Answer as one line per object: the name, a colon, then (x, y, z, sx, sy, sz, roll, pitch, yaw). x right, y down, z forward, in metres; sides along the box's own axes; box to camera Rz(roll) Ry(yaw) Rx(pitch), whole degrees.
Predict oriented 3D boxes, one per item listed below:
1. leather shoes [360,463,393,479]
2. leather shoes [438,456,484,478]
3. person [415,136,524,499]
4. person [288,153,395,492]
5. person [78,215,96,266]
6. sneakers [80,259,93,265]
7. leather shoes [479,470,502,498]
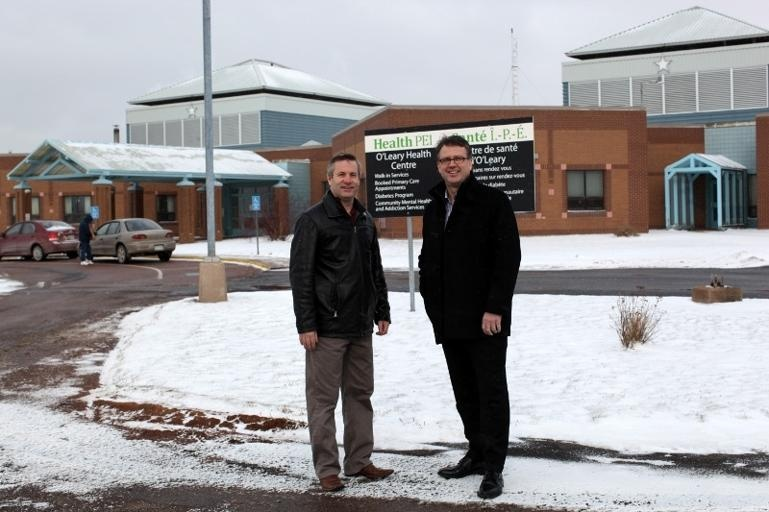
leather shoes: (-0.082, 2.250, 8.590, 0.395, 0.145, 0.129, -3, 2, 4)
leather shoes: (0.826, 2.206, 8.560, 0.579, 0.215, 0.179, -1, -3, -5)
person: (0.944, 0.532, 8.470, 0.926, 3.499, 1.393, -6, 14, -15)
person: (-0.488, 0.634, 8.548, 1.000, 3.328, 1.272, -1, 13, 5)
person: (-11.054, -0.627, 30.091, 0.555, 1.845, 0.731, -7, 14, -19)
sneakers: (-11.034, 0.220, 30.178, 0.200, 0.216, 0.552, 2, -4, -40)
leather shoes: (1.087, 2.281, 8.185, 0.321, 0.215, 0.204, -5, 13, -12)
